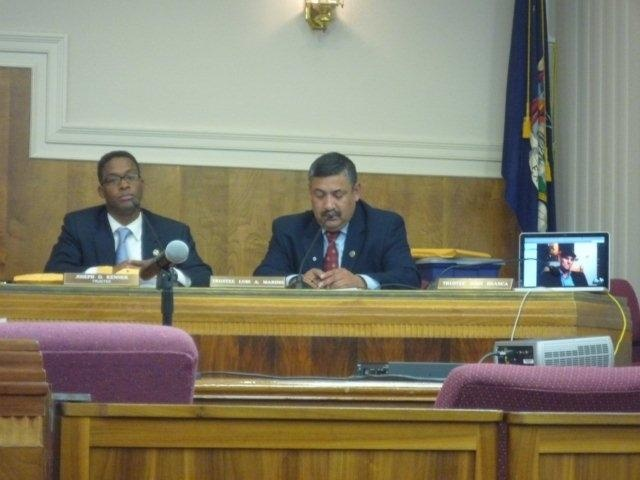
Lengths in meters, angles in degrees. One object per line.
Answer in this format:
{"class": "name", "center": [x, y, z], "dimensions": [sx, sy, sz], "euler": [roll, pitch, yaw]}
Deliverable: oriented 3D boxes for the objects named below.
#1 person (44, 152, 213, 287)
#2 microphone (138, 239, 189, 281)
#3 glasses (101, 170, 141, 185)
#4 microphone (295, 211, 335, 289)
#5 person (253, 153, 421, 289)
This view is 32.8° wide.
{"class": "person", "center": [-1.001, -0.118, 5.777], "dimensions": [0.816, 0.774, 0.837], "euler": [-3, -5, 16]}
{"class": "microphone", "center": [-0.605, 0.075, 4.256], "dimensions": [0.157, 0.143, 0.367], "euler": [1, -6, -22]}
{"class": "glasses", "center": [-1.078, -0.326, 5.869], "dimensions": [0.204, 0.073, 0.115], "euler": [0, -5, -16]}
{"class": "microphone", "center": [-0.024, 0.098, 5.567], "dimensions": [0.192, 0.304, 0.089], "euler": [-5, -18, 28]}
{"class": "person", "center": [0.072, -0.100, 5.605], "dimensions": [0.832, 0.757, 0.746], "euler": [-1, -5, 5]}
